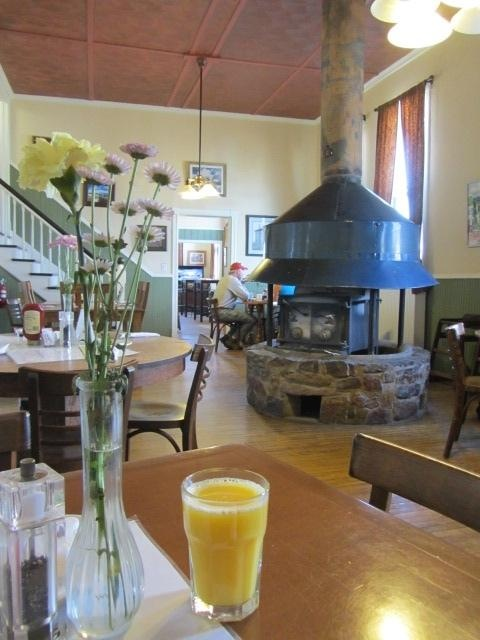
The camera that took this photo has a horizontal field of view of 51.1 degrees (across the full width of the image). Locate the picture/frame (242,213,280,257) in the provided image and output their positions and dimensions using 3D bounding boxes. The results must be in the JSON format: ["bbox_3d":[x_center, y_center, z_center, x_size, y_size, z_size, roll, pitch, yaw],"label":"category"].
[{"bbox_3d":[0.285,-1.424,8.462,0.497,0.699,0.151,7,1,-23],"label":"picture/frame"}]

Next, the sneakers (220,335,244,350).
[{"bbox_3d":[-0.122,0.361,7.709,0.292,0.137,0.414,18,-6,9],"label":"sneakers"}]

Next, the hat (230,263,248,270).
[{"bbox_3d":[0.009,-0.802,7.809,0.254,0.126,0.157,-8,22,-37],"label":"hat"}]

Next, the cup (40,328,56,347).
[{"bbox_3d":[-0.961,0.086,2.524,0.088,0.102,0.086,0,3,0],"label":"cup"}]

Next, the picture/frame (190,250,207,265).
[{"bbox_3d":[-1.528,-2.214,17.878,0.529,0.433,0.037,5,-11,-7],"label":"picture/frame"}]

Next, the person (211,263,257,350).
[{"bbox_3d":[-0.087,-0.221,7.645,0.690,1.292,0.582,7,1,0],"label":"person"}]

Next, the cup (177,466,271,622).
[{"bbox_3d":[-0.015,0.222,0.519,0.116,0.163,0.113,0,2,0],"label":"cup"}]
